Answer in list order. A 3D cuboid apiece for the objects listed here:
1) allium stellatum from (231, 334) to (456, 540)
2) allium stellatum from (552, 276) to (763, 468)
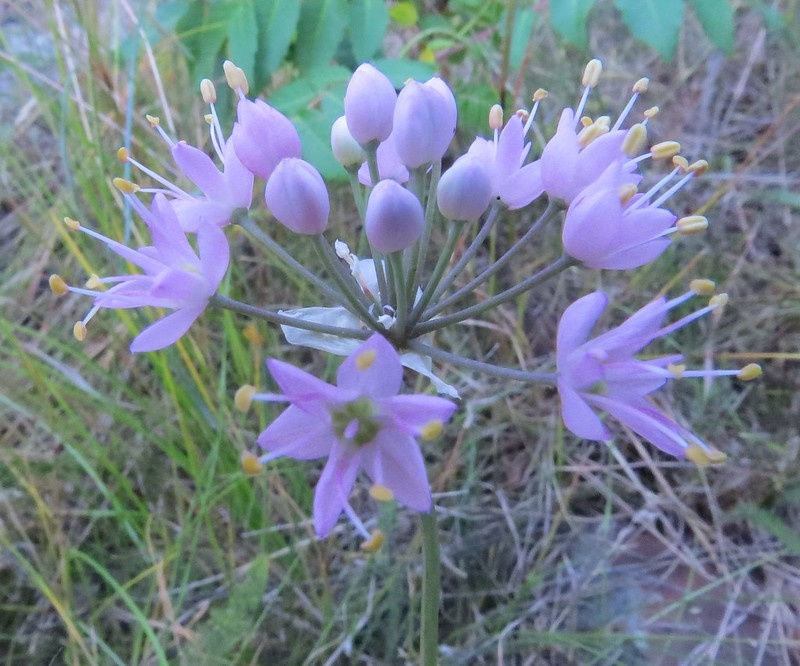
[{"bbox_3d":[-0.109,0.241,1.996,0.476,0.337,0.328,-16,58,-5],"label":"allium stellatum"},{"bbox_3d":[0.605,0.084,2.238,0.474,0.424,0.425,-27,38,-2],"label":"allium stellatum"}]
